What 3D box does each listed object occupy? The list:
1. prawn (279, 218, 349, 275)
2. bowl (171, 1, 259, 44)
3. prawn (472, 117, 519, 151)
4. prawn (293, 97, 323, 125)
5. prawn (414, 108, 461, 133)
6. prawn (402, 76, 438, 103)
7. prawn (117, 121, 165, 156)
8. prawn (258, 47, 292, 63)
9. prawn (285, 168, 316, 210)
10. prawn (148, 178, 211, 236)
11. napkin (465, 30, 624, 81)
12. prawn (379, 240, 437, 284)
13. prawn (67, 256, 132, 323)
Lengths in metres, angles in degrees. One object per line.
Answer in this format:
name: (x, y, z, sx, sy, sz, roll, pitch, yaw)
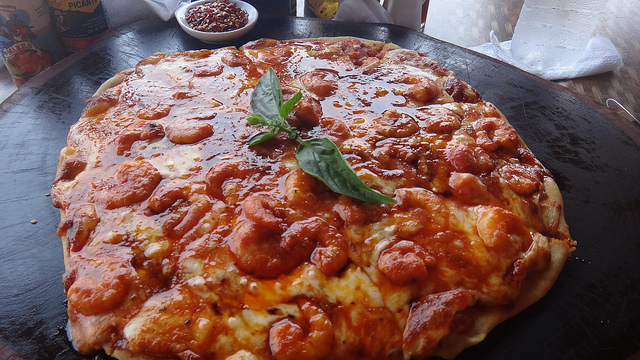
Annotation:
prawn: (-0.056, 0.455, 3.232, 0.434, 0.172, 0.332, -12, 28, -29)
bowl: (-0.983, -1.527, 4.687, 0.756, 0.197, 0.519, -7, 62, -5)
prawn: (1.307, -0.352, 3.664, 0.290, 0.190, 0.269, 1, 91, 6)
prawn: (-0.101, -0.531, 3.639, 0.210, 0.070, 0.200, 45, 56, 13)
prawn: (0.889, -0.459, 3.664, 0.239, 0.077, 0.226, 16, 41, 4)
prawn: (0.795, -0.715, 3.814, 0.231, 0.088, 0.224, -36, 54, -22)
prawn: (-1.333, -0.339, 3.574, 0.303, 0.081, 0.226, -28, 55, -14)
prawn: (-0.393, -1.069, 4.162, 0.218, 0.028, 0.162, 7, 38, 13)
prawn: (-0.155, 0.076, 3.404, 0.259, 0.083, 0.245, -29, 82, -19)
prawn: (-0.940, 0.159, 3.318, 0.356, 0.080, 0.345, 41, 68, 18)
napkin: (2.331, -1.364, 5.402, 1.545, 0.436, 1.576, 21, 22, 15)
prawn: (0.566, 0.546, 3.234, 0.302, 0.083, 0.300, -41, 70, -21)
prawn: (-1.401, 0.703, 3.162, 0.440, 0.131, 0.285, -30, 66, -16)
